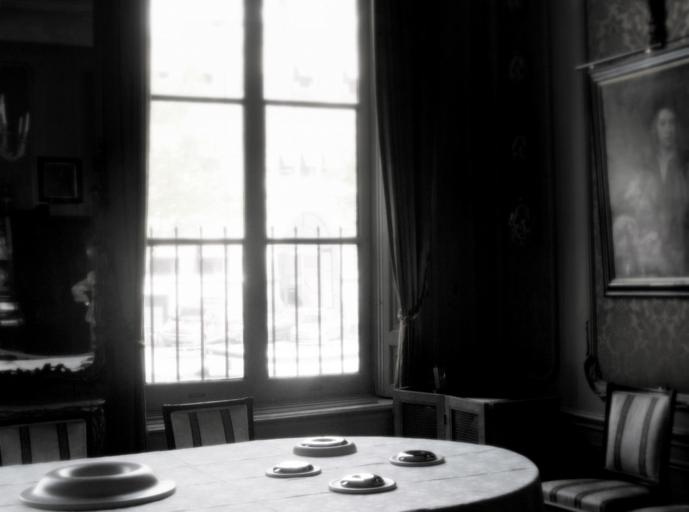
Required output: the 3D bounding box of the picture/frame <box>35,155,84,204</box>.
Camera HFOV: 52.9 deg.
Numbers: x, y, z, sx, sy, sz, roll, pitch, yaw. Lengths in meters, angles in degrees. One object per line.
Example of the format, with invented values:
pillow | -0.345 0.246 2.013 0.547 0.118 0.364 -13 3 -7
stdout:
picture/frame | -1.562 -0.413 3.754 0.267 0.272 0.068 0 0 -17
